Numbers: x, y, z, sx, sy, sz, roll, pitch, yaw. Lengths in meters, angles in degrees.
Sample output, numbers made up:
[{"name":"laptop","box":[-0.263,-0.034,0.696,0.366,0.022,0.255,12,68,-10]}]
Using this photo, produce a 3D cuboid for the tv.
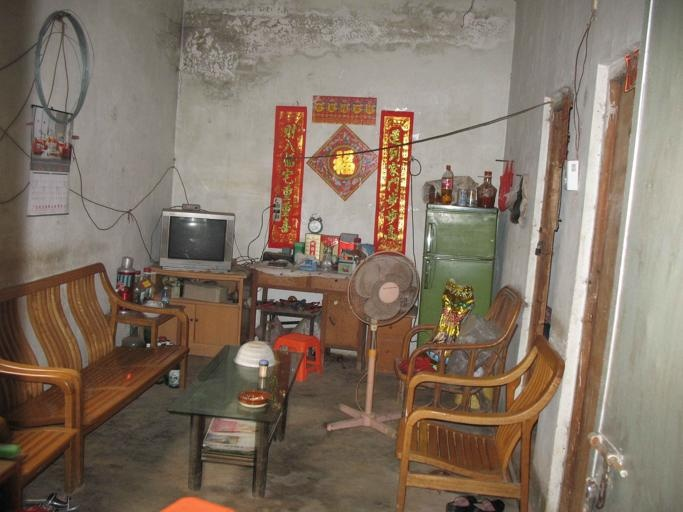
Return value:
[{"name":"tv","box":[-1.634,-0.207,6.180,0.791,0.700,0.442,3,16,-14]}]

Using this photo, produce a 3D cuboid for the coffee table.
[{"name":"coffee table","box":[-0.727,1.172,3.887,0.678,0.684,1.079,4,10,3]}]

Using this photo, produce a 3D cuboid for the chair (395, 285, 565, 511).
[{"name":"chair","box":[0.777,0.986,3.848,1.123,1.528,0.987,2,4,8]}]

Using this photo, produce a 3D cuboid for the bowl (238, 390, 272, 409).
[{"name":"bowl","box":[-0.551,0.930,3.507,0.230,0.060,0.189,-4,13,-39]}]

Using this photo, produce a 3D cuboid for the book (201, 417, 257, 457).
[{"name":"book","box":[-0.767,1.256,3.725,0.289,0.076,0.306,5,3,0]}]

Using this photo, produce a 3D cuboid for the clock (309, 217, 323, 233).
[{"name":"clock","box":[-0.318,-0.370,6.515,0.178,0.243,0.062,0,-2,6]}]

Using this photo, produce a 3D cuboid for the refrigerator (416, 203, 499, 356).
[{"name":"refrigerator","box":[1.293,0.218,5.946,0.923,1.644,0.837,-2,22,1]}]

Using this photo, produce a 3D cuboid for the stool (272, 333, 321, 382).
[{"name":"stool","box":[-0.394,1.034,5.711,0.454,0.449,0.454,0,3,-43]}]
